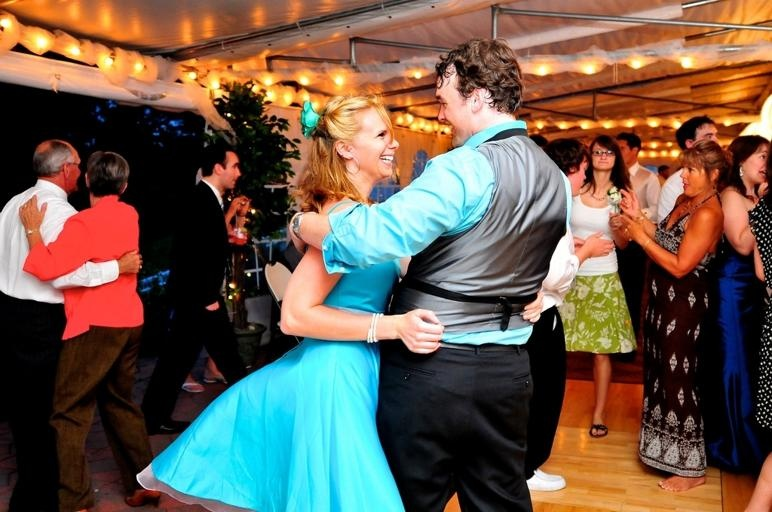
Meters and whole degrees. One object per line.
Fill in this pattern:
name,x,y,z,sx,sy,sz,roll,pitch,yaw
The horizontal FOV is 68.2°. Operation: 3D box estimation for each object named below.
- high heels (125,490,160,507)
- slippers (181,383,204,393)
high heels,-1.628,1.636,3.878,0.248,0.090,0.124,7,-5,-5
slippers,-1.896,1.300,5.637,0.219,0.079,0.128,-2,-2,15
